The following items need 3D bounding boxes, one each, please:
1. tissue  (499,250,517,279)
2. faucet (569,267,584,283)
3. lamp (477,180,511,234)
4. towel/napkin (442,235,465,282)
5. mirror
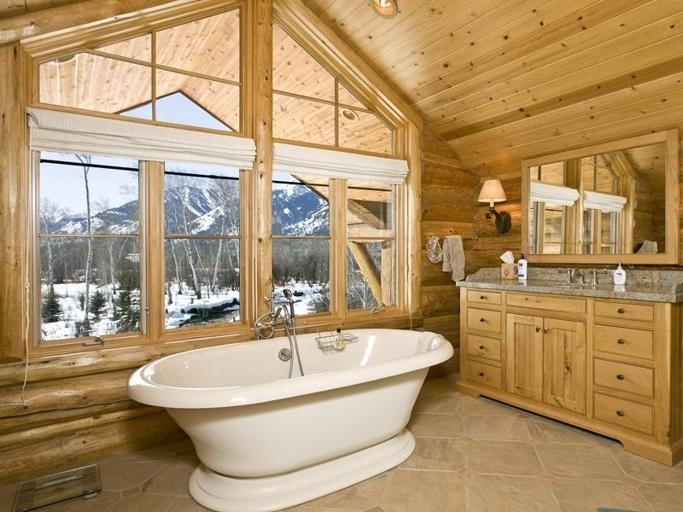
[{"bbox_3d":[1.618,0.094,4.548,0.141,0.262,0.247,2,14,13],"label":"tissue "},{"bbox_3d":[2.069,0.186,4.130,0.113,0.112,0.222,1,12,9],"label":"faucet"},{"bbox_3d":[1.553,-0.506,4.862,0.334,0.581,0.505,-1,13,1],"label":"lamp"},{"bbox_3d":[1.163,0.023,4.883,0.365,0.418,0.158,-1,-3,-23],"label":"towel/napkin"},{"bbox_3d":[2.247,-0.529,4.047,0.126,1.072,1.484,2,-2,-41],"label":"mirror"}]
